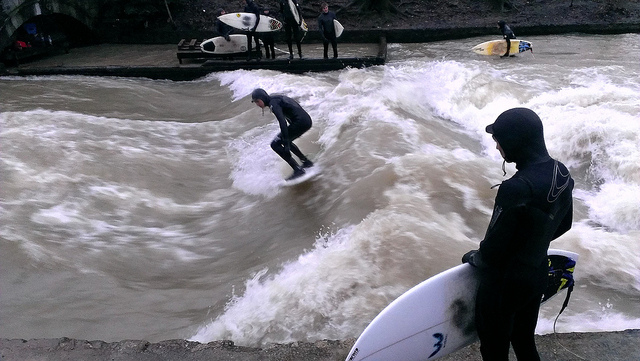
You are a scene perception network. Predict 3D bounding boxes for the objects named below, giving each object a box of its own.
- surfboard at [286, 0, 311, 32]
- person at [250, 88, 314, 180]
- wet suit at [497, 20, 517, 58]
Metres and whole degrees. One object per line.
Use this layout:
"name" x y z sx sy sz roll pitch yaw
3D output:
"surfboard" -0.685 -5.522 20.320 0.448 1.107 0.928 8 30 22
"person" -0.747 -1.181 14.762 1.053 2.181 0.978 23 40 40
"wet suit" 6.579 -4.975 21.069 0.586 1.069 1.693 3 27 14
